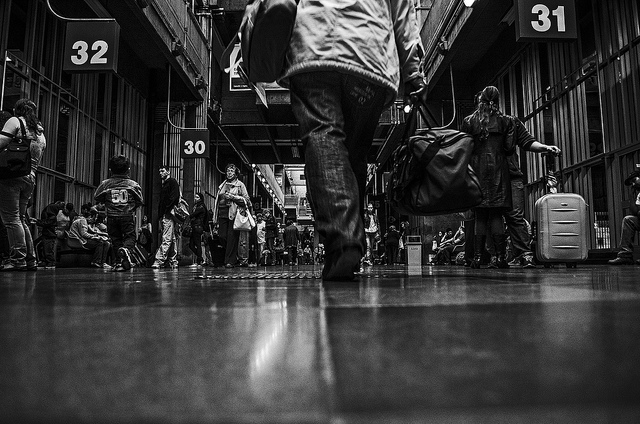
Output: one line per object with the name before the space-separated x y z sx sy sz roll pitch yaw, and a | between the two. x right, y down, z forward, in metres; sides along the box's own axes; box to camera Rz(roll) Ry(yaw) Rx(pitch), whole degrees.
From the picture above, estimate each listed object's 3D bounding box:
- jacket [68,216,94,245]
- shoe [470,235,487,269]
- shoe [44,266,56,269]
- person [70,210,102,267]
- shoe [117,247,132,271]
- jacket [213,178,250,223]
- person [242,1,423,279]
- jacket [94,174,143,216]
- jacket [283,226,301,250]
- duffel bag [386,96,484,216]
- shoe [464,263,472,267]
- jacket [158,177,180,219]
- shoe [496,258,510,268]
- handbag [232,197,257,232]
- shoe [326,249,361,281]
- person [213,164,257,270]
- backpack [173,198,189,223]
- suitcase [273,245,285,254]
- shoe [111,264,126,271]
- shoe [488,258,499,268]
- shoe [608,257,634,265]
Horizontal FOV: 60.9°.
jacket | -4.430 0.319 10.127 0.335 0.527 0.506 -1 10 -44
shoe | 1.600 0.406 5.520 0.133 0.339 0.462 0 -5 16
shoe | -4.100 0.859 8.299 0.119 0.024 1.421 3 -5 -28
person | -4.351 0.457 10.185 0.605 1.099 0.454 -5 4 -39
shoe | -2.234 0.534 6.235 0.121 0.335 0.145 -8 4 3
jacket | -1.452 -0.182 8.990 0.529 0.712 0.367 1 0 23
person | 0.075 -0.353 2.455 0.767 1.270 0.693 -4 -6 45
jacket | -2.529 -0.211 6.875 0.536 0.543 0.288 3 -5 -25
jacket | -1.205 1.110 22.759 0.812 1.194 0.755 0 -19 -1
duffel bag | 0.544 -0.296 2.680 0.418 0.593 0.338 -5 -6 -24
shoe | 1.971 0.712 7.301 0.059 0.044 0.615 0 -4 17
jacket | -2.526 -0.239 9.165 0.306 0.715 0.323 2 -5 -14
shoe | 1.784 0.505 5.353 0.109 0.091 0.309 0 -4 19
handbag | -1.199 0.061 8.853 0.290 0.535 0.249 2 -9 30
shoe | 0.084 0.192 1.955 0.123 0.112 0.120 1 -4 3
person | -1.457 0.054 9.165 0.679 1.663 0.817 6 -6 -37
backpack | -2.513 -0.009 9.824 0.168 0.369 0.345 -1 -16 2
suitcase | -1.566 1.473 21.241 0.253 0.349 0.351 3 -12 -23
shoe | -2.355 0.664 6.380 0.085 0.109 0.243 0 -13 0
shoe | 1.803 0.543 5.695 0.067 0.161 0.215 -3 -16 25
shoe | 3.928 0.650 7.185 0.311 0.160 0.112 4 -2 19
